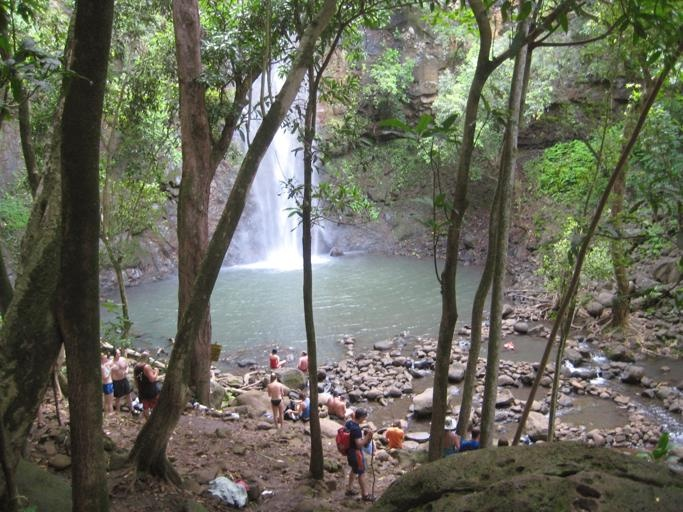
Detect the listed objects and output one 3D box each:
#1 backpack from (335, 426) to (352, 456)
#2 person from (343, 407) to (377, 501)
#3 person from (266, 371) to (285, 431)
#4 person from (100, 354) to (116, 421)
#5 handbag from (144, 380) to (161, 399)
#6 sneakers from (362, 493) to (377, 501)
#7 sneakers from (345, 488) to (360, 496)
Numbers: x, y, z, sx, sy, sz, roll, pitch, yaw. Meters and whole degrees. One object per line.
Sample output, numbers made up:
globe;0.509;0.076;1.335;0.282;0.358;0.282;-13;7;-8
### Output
backpack;0.023;2.722;8.967;0.285;0.552;0.368;2;-3;-2
person;0.288;2.847;8.841;0.509;0.833;0.503;6;3;17
person;-1.190;2.616;11.158;0.304;0.971;0.664;5;3;-4
person;-3.997;2.241;10.391;0.216;0.933;0.760;4;3;-20
handbag;-3.192;2.275;10.315;0.135;0.331;0.276;6;3;23
sneakers;0.397;3.449;8.649;0.211;0.102;0.076;-2;-6;1
sneakers;0.157;3.414;8.763;0.208;0.106;0.079;0;1;-4
